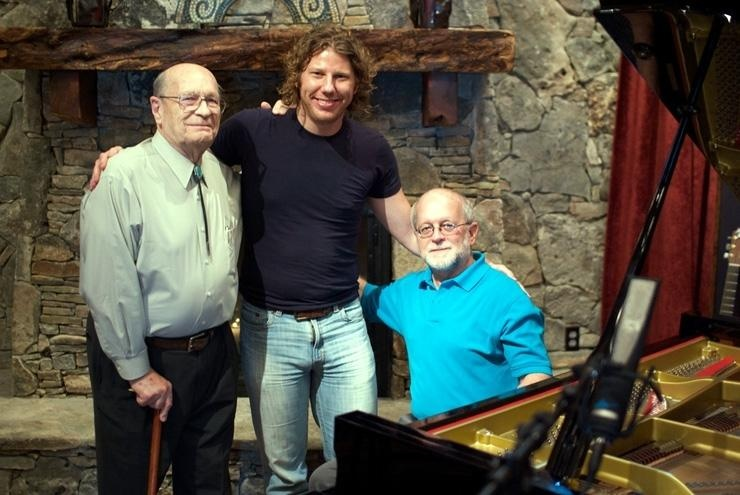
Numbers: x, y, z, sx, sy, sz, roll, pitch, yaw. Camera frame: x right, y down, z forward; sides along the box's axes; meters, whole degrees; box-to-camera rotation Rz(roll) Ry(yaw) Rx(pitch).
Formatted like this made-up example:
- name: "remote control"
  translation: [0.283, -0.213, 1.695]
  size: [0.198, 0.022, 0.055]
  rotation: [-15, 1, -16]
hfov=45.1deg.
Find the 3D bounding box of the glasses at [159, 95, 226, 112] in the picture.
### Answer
- name: "glasses"
  translation: [-0.782, -0.631, 3.870]
  size: [0.253, 0.061, 0.079]
  rotation: [0, 8, -16]
